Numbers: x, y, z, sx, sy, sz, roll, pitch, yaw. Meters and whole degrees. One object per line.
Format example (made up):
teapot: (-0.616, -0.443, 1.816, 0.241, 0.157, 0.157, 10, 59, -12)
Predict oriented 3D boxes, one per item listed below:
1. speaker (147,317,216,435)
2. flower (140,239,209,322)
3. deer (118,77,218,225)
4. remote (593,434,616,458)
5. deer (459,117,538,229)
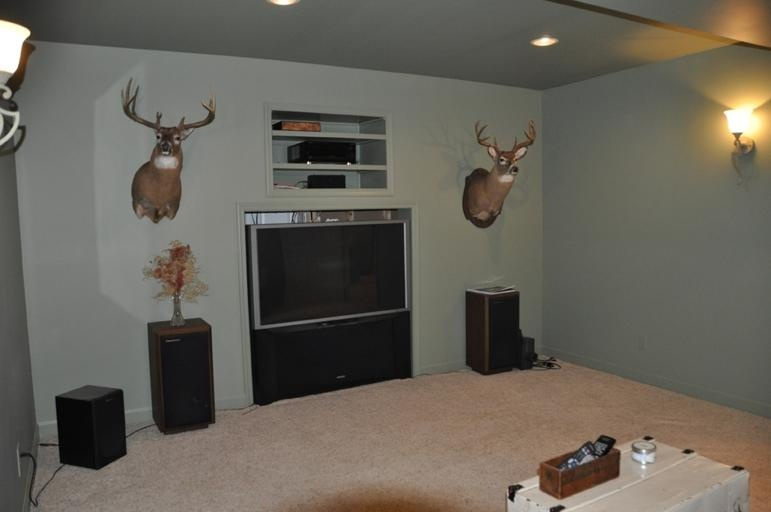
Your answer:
speaker: (-1.868, 1.097, 5.726, 0.567, 1.002, 0.339, 0, 0, -21)
flower: (-1.927, 0.243, 5.782, 0.572, 0.765, 0.270, 0, 0, -21)
deer: (-1.981, -0.851, 5.636, 0.684, 1.089, 0.468, 0, 0, -22)
remote: (1.472, 1.269, 4.208, 0.127, 0.111, 0.197, 0, 0, 17)
deer: (1.183, -0.807, 6.747, 0.572, 0.991, 0.740, 0, 0, -11)
